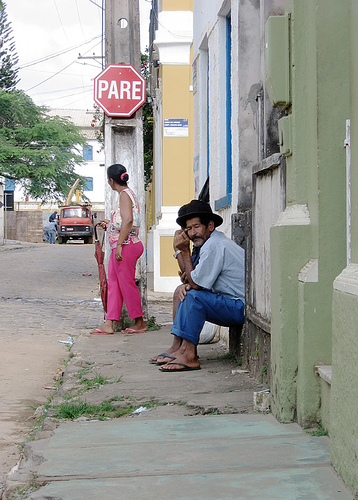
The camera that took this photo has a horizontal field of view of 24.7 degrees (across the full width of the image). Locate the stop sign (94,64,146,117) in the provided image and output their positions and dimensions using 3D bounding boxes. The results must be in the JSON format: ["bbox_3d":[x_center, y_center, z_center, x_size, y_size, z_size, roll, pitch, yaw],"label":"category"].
[{"bbox_3d":[-0.577,-1.579,8.067,0.505,0.517,0.170,1,1,-6],"label":"stop sign"}]

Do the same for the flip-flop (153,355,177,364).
[{"bbox_3d":[-0.096,0.760,5.588,0.161,0.050,0.069,0,-2,4],"label":"flip-flop"}]

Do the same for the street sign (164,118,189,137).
[{"bbox_3d":[-0.042,-1.938,12.876,0.383,0.308,0.082,1,1,-7],"label":"street sign"}]

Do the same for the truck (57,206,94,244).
[{"bbox_3d":[-4.625,-1.108,36.996,1.606,1.752,1.453,1,1,4],"label":"truck"}]

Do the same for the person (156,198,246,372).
[{"bbox_3d":[0.151,0.237,5.639,0.592,1.158,0.626,1,1,1],"label":"person"}]

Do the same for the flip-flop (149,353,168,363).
[{"bbox_3d":[-0.151,0.763,5.677,0.146,0.049,0.061,-3,-4,16],"label":"flip-flop"}]

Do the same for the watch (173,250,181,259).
[{"bbox_3d":[-0.010,0.035,5.850,0.057,0.065,0.039,3,23,-36],"label":"watch"}]

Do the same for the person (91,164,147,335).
[{"bbox_3d":[-0.552,-0.002,7.663,0.512,1.615,0.841,1,1,-6],"label":"person"}]
